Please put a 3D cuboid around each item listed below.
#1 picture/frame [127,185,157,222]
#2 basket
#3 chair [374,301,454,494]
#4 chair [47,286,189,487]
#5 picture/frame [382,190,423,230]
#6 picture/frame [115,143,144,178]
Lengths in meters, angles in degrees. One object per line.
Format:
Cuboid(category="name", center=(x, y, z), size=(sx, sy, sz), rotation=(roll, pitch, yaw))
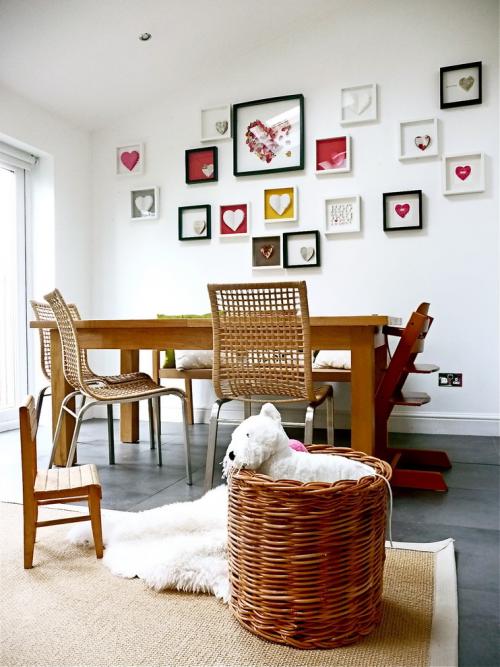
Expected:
Cuboid(category="picture/frame", center=(-0.757, -0.921, 3.936), size=(0.254, 0.252, 0.057), rotation=(3, 5, 28))
Cuboid(category="basket", center=(0.129, 0.403, 1.135), size=(0.304, 0.271, 0.286), rotation=(1, 3, 18))
Cuboid(category="chair", center=(0.659, 0.226, 2.234), size=(0.295, 0.691, 0.514), rotation=(0, 3, 20))
Cuboid(category="chair", center=(-0.567, 0.230, 2.316), size=(0.504, 0.734, 0.431), rotation=(-4, 7, -29))
Cuboid(category="picture/frame", center=(0.904, -0.715, 3.235), size=(0.240, 0.245, 0.023), rotation=(1, 4, 27))
Cuboid(category="picture/frame", center=(-0.858, -1.237, 3.978), size=(0.259, 0.227, 0.034), rotation=(1, -1, 23))
